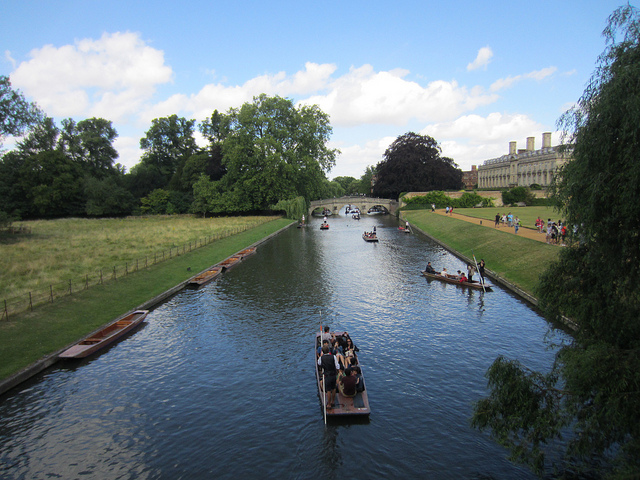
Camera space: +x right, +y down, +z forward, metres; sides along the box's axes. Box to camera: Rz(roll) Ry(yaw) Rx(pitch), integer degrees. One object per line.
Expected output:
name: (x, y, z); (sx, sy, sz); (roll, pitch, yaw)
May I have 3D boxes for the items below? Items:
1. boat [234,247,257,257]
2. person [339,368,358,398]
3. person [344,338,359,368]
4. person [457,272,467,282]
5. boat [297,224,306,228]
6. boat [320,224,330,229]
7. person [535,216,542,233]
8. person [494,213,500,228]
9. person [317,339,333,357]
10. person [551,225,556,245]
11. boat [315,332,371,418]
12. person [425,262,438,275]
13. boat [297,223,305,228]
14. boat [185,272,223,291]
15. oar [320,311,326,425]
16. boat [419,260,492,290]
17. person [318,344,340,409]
boat: (-8.632, 1.473, 51.065); (0.667, 0.394, 2.966); (9, 15, 17)
person: (1.260, 6.424, 19.100); (0.827, 1.331, 1.186); (0, 24, 1)
person: (1.556, 5.739, 21.647); (0.588, 1.912, 0.811); (6, 17, 32)
person: (12.026, 3.201, 36.088); (0.552, 0.779, 0.521); (3, 1, 28)
boat: (-3.717, -2.695, 85.775); (1.583, 0.500, 2.615); (-2, 8, -6)
boat: (0.730, -2.298, 80.743); (1.345, 0.707, 2.199); (-2, 8, -6)
person: (24.452, -1.552, 47.988); (0.510, 1.448, 1.561); (2, 9, 22)
person: (22.916, -2.392, 55.685); (0.522, 1.580, 1.860); (2, 8, 21)
person: (0.186, 5.470, 21.859); (0.681, 0.936, 0.376); (-4, -10, 8)
person: (21.336, -0.450, 39.399); (0.333, 1.791, 1.183); (2, -15, 28)
boat: (1.018, 6.429, 20.183); (1.513, 0.738, 5.107); (0, 15, -1)
person: (10.168, 2.607, 39.294); (1.115, 1.158, 0.668); (1, 6, 36)
boat: (-3.847, -2.842, 85.793); (1.246, 0.793, 2.655); (-1, 8, -1)
boat: (-10.111, 3.837, 37.405); (1.608, 0.206, 3.444); (2, 9, 24)
oar: (0.127, 6.243, 20.607); (0.048, 3.443, 0.048); (-6, -10, 14)
boat: (11.238, 3.515, 37.576); (1.556, 0.689, 6.933); (-10, 18, -27)
person: (0.418, 6.131, 19.355); (0.916, 2.695, 0.883); (-2, -1, -21)
